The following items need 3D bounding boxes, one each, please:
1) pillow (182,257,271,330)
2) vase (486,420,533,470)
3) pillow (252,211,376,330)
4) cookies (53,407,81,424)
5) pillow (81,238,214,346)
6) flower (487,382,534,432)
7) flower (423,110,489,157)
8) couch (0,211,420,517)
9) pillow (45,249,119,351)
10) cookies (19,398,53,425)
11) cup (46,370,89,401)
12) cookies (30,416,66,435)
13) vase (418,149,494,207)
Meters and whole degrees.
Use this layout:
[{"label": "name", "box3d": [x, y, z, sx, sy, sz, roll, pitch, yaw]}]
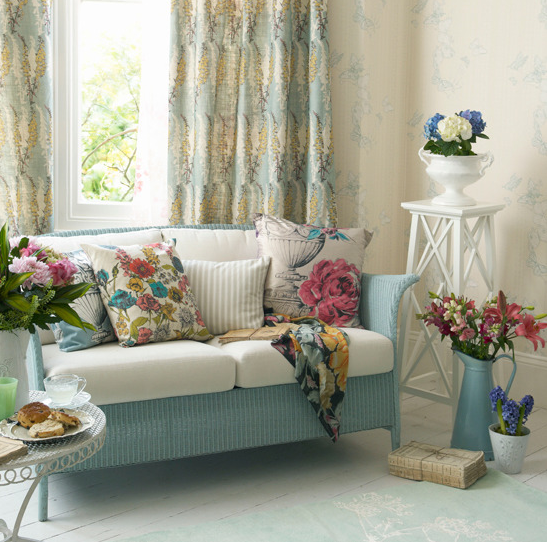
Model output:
[{"label": "pillow", "box3d": [-0.185, 0.115, 2.329, 0.379, 0.302, 0.135, -2, 6, 36]}, {"label": "vase", "box3d": [0.896, 0.682, 2.108, 0.167, 0.138, 0.150, 4, -2, 15]}, {"label": "pillow", "box3d": [0.122, 0.023, 2.420, 0.570, 0.467, 0.197, 10, -6, -18]}, {"label": "cookies", "box3d": [-0.442, 0.308, 1.184, 0.054, 0.016, 0.039, 9, -10, 29]}, {"label": "pillow", "box3d": [-0.481, 0.083, 2.053, 0.416, 0.373, 0.123, -7, -23, -49]}, {"label": "flower", "box3d": [0.888, 0.531, 2.078, 0.159, 0.138, 0.147, 24, -15, -39]}, {"label": "flower", "box3d": [0.828, -0.613, 2.505, 0.274, 0.191, 0.243, 0, 17, 2]}, {"label": "couch", "box3d": [-0.236, 0.287, 2.135, 1.479, 0.724, 0.584, -3, 16, -23]}, {"label": "pillow", "box3d": [-0.691, 0.093, 1.971, 0.114, 0.335, 0.318, -20, -3, 31]}, {"label": "cookies", "box3d": [-0.512, 0.299, 1.164, 0.049, 0.018, 0.059, 2, 13, -2]}, {"label": "cup", "box3d": [-0.487, 0.268, 1.306, 0.091, 0.049, 0.067, 4, 5, 20]}, {"label": "cookies", "box3d": [-0.458, 0.322, 1.133, 0.066, 0.020, 0.079, 0, 3, 8]}, {"label": "vase", "box3d": [0.844, -0.435, 2.564, 0.381, 0.219, 0.266, 5, 12, 24]}]
